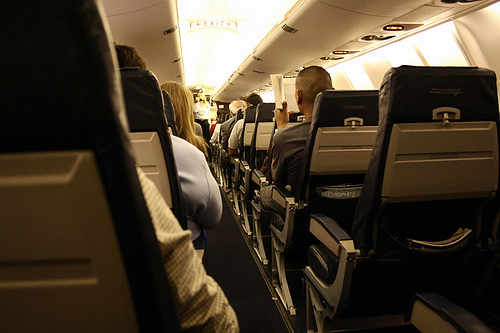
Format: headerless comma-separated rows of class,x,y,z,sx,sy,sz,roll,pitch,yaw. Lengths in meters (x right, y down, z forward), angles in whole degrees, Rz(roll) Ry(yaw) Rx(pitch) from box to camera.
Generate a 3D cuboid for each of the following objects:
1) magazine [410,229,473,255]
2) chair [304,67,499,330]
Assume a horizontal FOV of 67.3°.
magazine,0.895,0.363,1.750,0.285,0.096,0.041,-8,0,3
chair,0.728,0.276,1.834,0.918,1.454,0.509,-1,9,15
